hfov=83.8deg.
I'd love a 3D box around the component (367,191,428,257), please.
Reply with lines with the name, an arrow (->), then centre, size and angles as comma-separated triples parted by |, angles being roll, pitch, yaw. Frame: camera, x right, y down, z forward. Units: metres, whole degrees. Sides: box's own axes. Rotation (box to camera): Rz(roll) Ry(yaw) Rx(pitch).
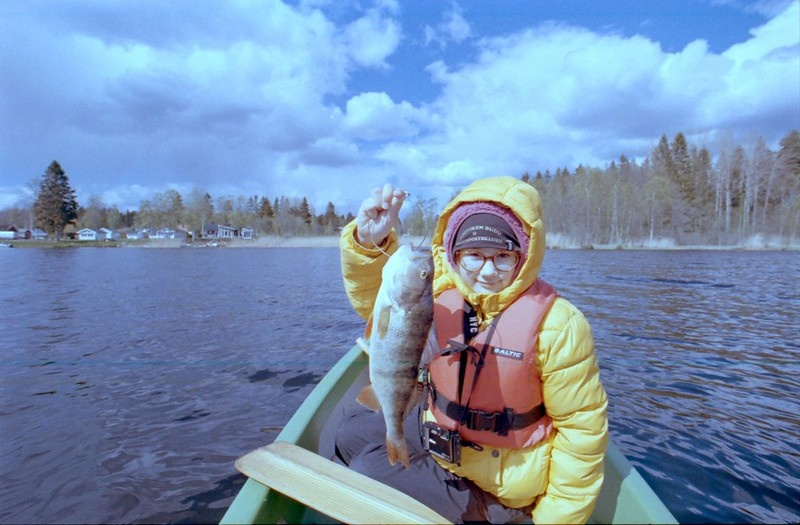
component -> -0.132, -0.552, 5.029 | 0.668, 0.791, 0.291 | 15, 22, 14

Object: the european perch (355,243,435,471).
european perch -> -0.006, 0.958, 4.619 | 0.728, 2.276, 0.257 | -2, 4, -6
